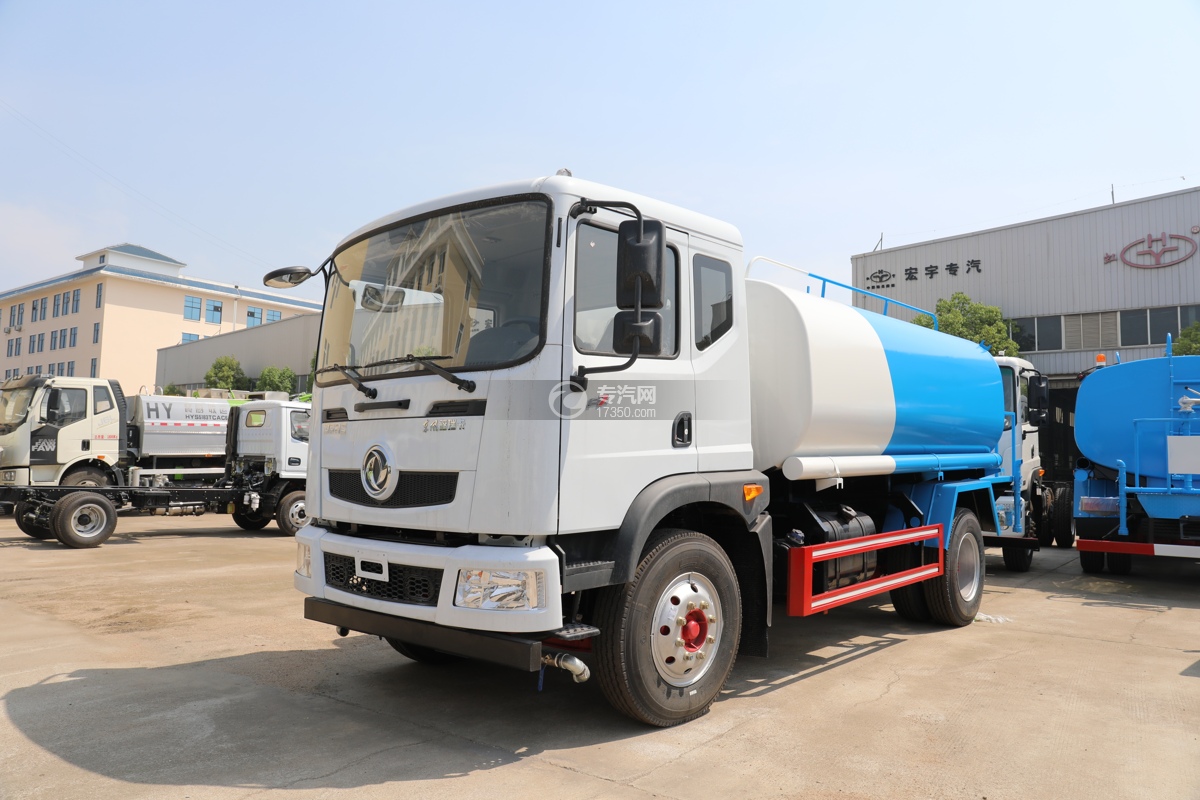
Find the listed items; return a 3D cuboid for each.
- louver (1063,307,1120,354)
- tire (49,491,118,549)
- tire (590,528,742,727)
[{"bbox_3d":[22.376,-3.191,31.961,0.328,2.151,2.802,2,-4,-40],"label":"louver"},{"bbox_3d":[-10.747,2.449,14.642,0.342,0.840,0.835,-16,-36,33],"label":"tire"},{"bbox_3d":[0.494,1.787,5.592,1.467,1.599,0.638,8,-2,-44],"label":"tire"}]
